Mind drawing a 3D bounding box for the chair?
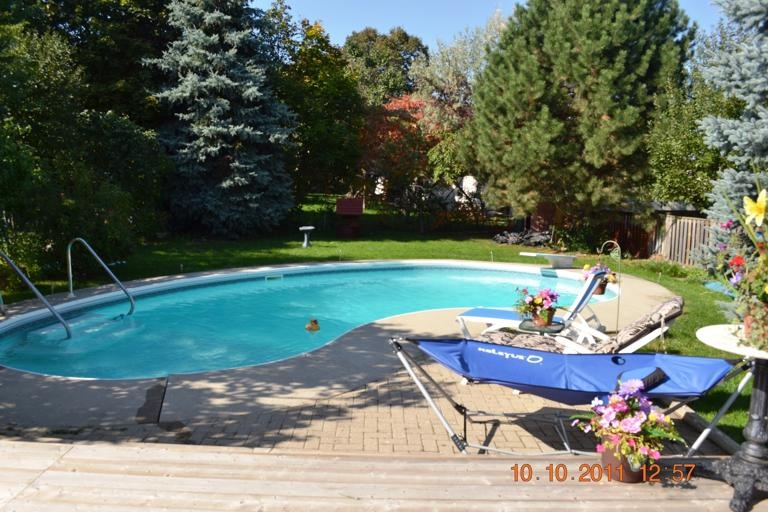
[{"bbox_3d":[3.529,1.420,11.865,3.954,1.713,2.149,0,1,22],"label":"chair"}]

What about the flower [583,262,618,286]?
[{"bbox_3d":[5.553,0.475,15.704,0.640,0.435,0.709,32,-20,-30],"label":"flower"}]

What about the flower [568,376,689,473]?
[{"bbox_3d":[3.359,2.274,8.765,1.367,0.924,1.319,-1,11,-30],"label":"flower"}]
